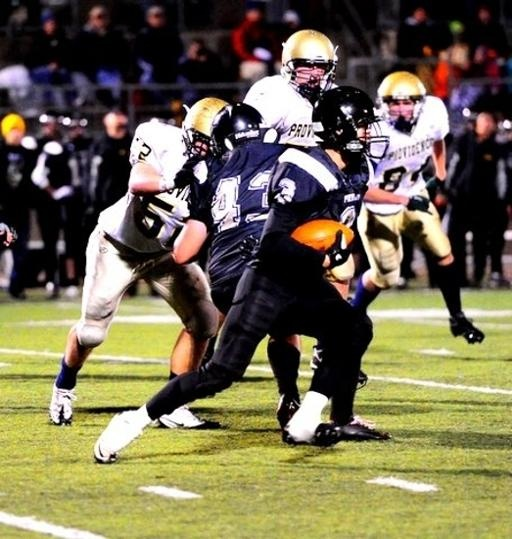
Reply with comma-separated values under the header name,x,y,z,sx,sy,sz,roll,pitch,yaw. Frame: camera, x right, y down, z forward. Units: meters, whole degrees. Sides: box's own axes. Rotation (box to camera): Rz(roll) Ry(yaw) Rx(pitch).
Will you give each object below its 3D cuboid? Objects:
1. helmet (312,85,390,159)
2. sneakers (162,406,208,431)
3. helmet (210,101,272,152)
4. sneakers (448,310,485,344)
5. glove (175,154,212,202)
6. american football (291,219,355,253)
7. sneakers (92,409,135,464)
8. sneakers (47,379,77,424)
name,x,y,z,sx,sy,sz,roll,pitch,yaw
helmet,0.337,-0.572,2.974,0.249,0.278,0.324,9,7,1
sneakers,-0.332,0.665,3.497,0.224,0.062,0.164,1,4,-36
helmet,-0.087,-0.572,3.146,0.243,0.185,0.187,7,14,37
sneakers,1.333,0.387,5.055,0.192,0.198,0.247,10,7,5
glove,-0.250,-0.361,3.161,0.062,0.198,0.191,52,3,-26
american football,0.224,-0.121,2.678,0.185,0.053,0.113,-6,22,-2
sneakers,-0.529,0.580,2.747,0.072,0.214,0.121,42,14,-36
sneakers,-0.875,0.599,3.548,0.091,0.170,0.093,0,-5,-19
